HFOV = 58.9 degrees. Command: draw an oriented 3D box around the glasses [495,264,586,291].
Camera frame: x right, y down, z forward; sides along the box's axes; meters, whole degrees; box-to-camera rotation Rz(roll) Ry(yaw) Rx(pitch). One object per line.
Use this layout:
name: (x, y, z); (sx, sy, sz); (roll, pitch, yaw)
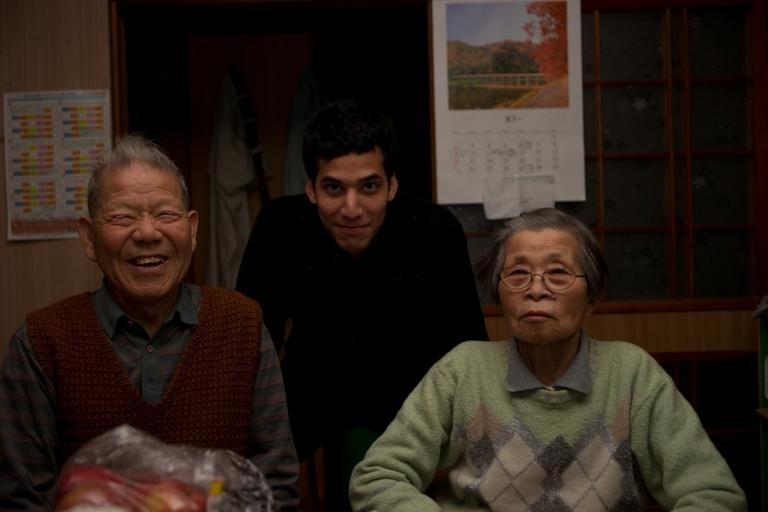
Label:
glasses: (0.611, 0.091, 2.652); (0.313, 0.096, 0.092); (-1, 4, 14)
